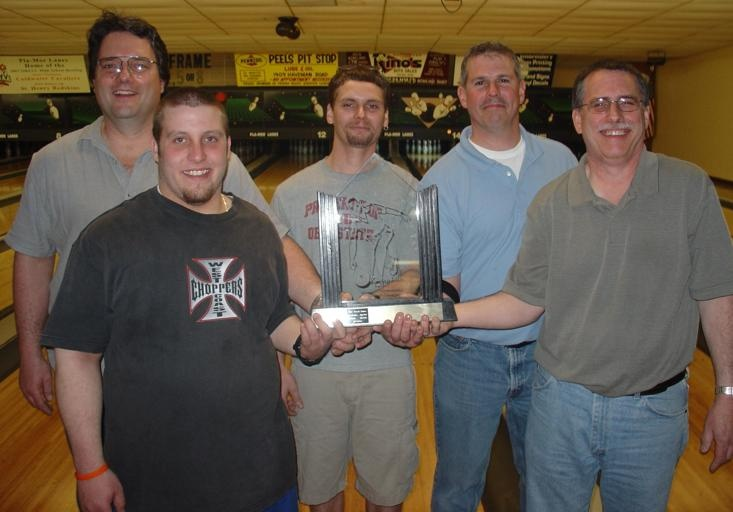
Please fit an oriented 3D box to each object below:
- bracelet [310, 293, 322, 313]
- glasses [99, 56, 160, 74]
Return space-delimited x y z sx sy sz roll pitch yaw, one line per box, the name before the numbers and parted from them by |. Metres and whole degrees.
bracelet | -0.167 0.159 2.156 0.049 0.068 0.025 -3 -24 36
glasses | -0.848 -0.679 2.191 0.182 0.062 0.056 -6 14 -18
